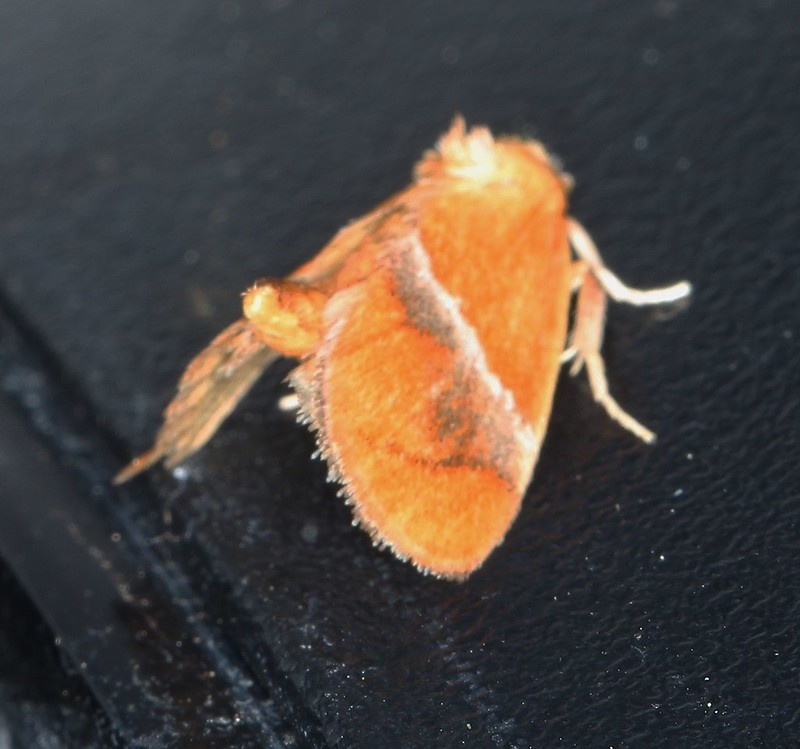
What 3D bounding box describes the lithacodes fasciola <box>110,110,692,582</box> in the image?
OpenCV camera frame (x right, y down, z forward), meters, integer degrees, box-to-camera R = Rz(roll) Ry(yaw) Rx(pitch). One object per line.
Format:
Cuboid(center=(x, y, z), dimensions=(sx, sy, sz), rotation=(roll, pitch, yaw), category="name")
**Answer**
Cuboid(center=(0.022, 0.019, 1.385), dimensions=(0.578, 0.241, 0.391), rotation=(-44, 85, -4), category="lithacodes fasciola")
